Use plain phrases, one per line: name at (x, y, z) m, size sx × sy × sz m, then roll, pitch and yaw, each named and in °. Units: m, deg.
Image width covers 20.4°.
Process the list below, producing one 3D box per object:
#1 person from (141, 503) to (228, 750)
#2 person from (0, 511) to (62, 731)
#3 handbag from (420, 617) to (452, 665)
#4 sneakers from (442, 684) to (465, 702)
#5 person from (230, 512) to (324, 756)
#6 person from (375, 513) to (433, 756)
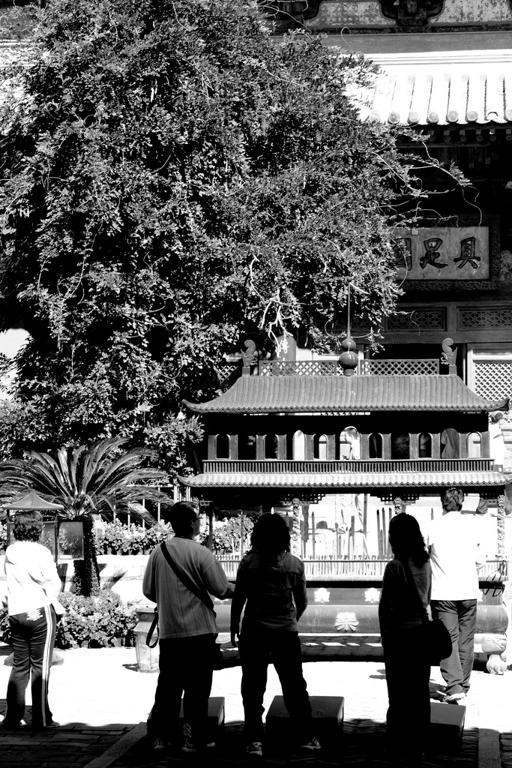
person at (-0.434, 1.545, 9.107) m, size 0.533 × 1.535 × 0.343 m, roll -3°, pitch 0°, yaw -5°
person at (-1.578, 1.661, 9.972) m, size 0.445 × 1.496 × 0.338 m, roll -3°, pitch 0°, yaw -8°
handbag at (1.146, 1.649, 9.067) m, size 0.174 × 0.271 × 0.171 m, roll -3°, pitch 0°, yaw 6°
sneakers at (1.468, 2.288, 10.559) m, size 0.146 × 0.063 × 0.110 m, roll -1°, pitch -1°, yaw -4°
person at (0.116, 1.624, 9.205) m, size 0.532 × 1.498 × 0.262 m, roll -3°, pitch 0°, yaw -2°
person at (0.955, 1.601, 9.139) m, size 0.313 × 1.457 × 0.409 m, roll -3°, pitch 0°, yaw 5°
